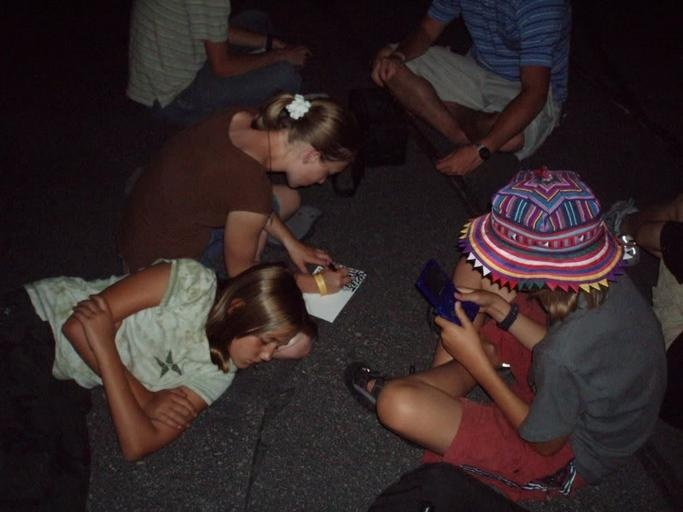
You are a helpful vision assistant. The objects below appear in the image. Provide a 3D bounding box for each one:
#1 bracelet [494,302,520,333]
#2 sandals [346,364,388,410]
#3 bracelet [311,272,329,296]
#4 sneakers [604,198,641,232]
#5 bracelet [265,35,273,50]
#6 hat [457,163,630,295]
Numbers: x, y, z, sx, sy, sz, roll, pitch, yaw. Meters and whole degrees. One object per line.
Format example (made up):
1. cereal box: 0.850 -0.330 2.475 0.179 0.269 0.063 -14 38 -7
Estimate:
1. bracelet: 0.887 0.333 2.957 0.048 0.108 0.134 30 77 -7
2. sandals: 0.122 0.736 3.158 0.284 0.111 0.167 38 88 13
3. bracelet: -0.138 0.177 3.399 0.034 0.100 0.107 -22 21 -9
4. sneakers: 1.807 -0.269 3.570 0.120 0.137 0.319 0 44 33
5. bracelet: -0.520 -1.514 3.932 0.072 0.102 0.036 -1 10 -37
6. hat: 0.923 -0.096 2.622 0.616 0.347 0.613 -30 47 -23
